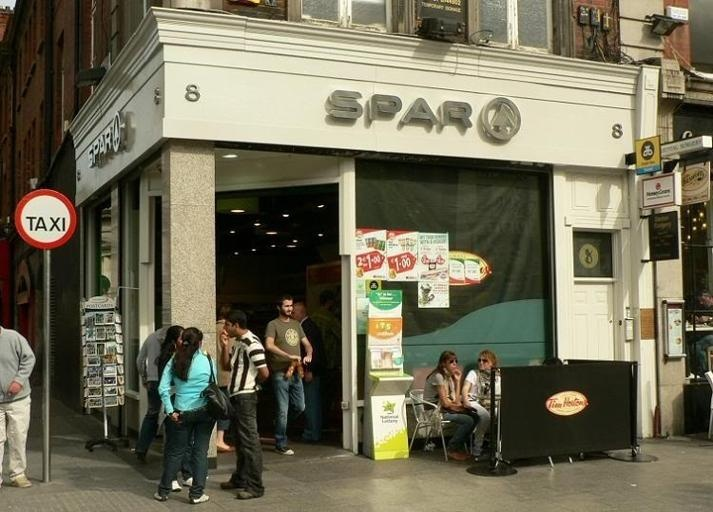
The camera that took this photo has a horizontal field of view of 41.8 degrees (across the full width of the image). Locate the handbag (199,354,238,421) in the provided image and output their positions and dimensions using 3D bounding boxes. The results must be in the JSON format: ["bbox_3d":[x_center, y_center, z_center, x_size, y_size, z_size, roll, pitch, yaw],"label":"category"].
[{"bbox_3d":[-1.834,1.723,12.372,0.380,0.836,0.444,-1,6,-9],"label":"handbag"}]

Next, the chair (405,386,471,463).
[{"bbox_3d":[1.179,2.654,14.925,0.965,1.398,0.896,-5,-9,22],"label":"chair"}]

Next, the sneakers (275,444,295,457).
[{"bbox_3d":[-1.111,3.008,14.661,0.345,0.130,0.117,-6,-8,44],"label":"sneakers"}]

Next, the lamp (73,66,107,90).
[{"bbox_3d":[-4.843,-3.298,17.092,0.413,0.171,0.583,-9,2,-20],"label":"lamp"}]

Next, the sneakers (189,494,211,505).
[{"bbox_3d":[-2.066,3.183,12.389,0.101,0.103,0.247,4,5,43],"label":"sneakers"}]

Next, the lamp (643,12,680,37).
[{"bbox_3d":[5.508,-4.139,16.723,0.511,0.361,0.183,0,38,-7],"label":"lamp"}]

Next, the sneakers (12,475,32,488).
[{"bbox_3d":[-4.676,3.103,12.990,0.301,0.115,0.139,-10,-12,43],"label":"sneakers"}]

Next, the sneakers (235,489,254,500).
[{"bbox_3d":[-1.473,3.161,12.491,0.180,0.051,0.108,5,4,2],"label":"sneakers"}]

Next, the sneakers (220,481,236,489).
[{"bbox_3d":[-1.772,3.125,12.915,0.180,0.077,0.102,-1,4,-9],"label":"sneakers"}]

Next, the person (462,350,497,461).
[{"bbox_3d":[1.941,2.297,14.653,0.506,1.508,0.818,1,6,9],"label":"person"}]

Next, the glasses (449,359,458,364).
[{"bbox_3d":[1.553,1.640,14.722,0.124,0.125,0.034,-4,22,2],"label":"glasses"}]
